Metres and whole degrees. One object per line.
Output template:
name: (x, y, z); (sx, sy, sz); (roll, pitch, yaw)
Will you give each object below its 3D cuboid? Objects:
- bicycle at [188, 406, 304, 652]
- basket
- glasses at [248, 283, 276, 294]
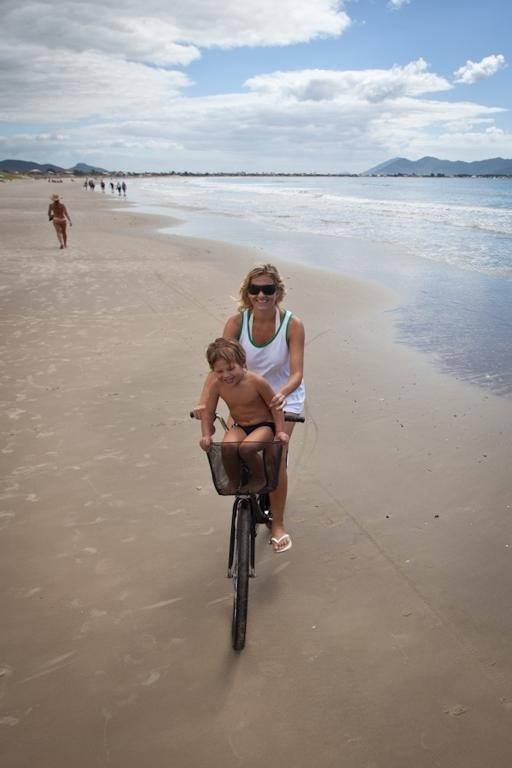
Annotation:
bicycle: (-0.025, 0.809, 3.582); (0.518, 1.209, 0.886); (3, 18, 4)
basket: (-0.063, 0.448, 3.242); (0.484, 0.270, 0.343); (-2, 2, -4)
glasses: (0.030, -0.568, 3.686); (0.156, 0.073, 0.059); (3, 18, 4)
